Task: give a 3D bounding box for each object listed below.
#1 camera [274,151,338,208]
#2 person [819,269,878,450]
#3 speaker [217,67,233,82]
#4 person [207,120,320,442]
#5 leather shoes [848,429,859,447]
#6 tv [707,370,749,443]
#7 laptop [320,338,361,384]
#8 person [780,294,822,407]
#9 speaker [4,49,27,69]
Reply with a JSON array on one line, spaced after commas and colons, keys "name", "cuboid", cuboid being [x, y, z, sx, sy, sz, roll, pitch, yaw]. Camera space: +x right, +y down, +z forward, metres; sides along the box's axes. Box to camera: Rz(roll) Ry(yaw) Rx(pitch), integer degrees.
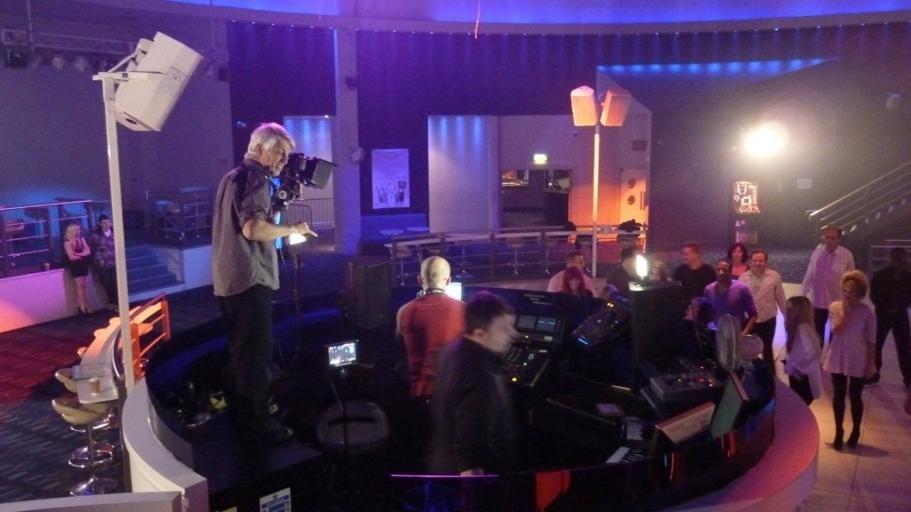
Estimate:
[{"name": "camera", "cuboid": [-1.846, -0.878, 7.127, 0.816, 0.411, 0.454, -9, 28, 12]}, {"name": "person", "cuboid": [5.397, 1.372, 8.595, 0.566, 2.353, 0.862, 4, 6, 33]}, {"name": "speaker", "cuboid": [-5.473, -4.379, 14.961, 0.244, 0.396, 0.234, 14, 34, 12]}, {"name": "person", "cuboid": [-2.248, 0.311, 7.055, 0.903, 3.606, 0.478, -1, 5, -17]}, {"name": "leather shoes", "cuboid": [5.373, 2.432, 8.441, 0.225, 0.239, 0.077, -2, 6, -27]}, {"name": "tv", "cuboid": [2.755, 1.506, 6.355, 0.305, 0.671, 0.225, 1, 5, 7]}, {"name": "laptop", "cuboid": [-1.242, 1.148, 6.959, 0.388, 0.440, 0.133, -5, 10, -16]}, {"name": "person", "cuboid": [4.746, 1.279, 8.530, 0.444, 1.464, 0.567, 1, 5, 8]}, {"name": "speaker", "cuboid": [-9.316, -4.219, 13.300, 0.434, 0.326, 0.232, -2, 6, -20]}]
